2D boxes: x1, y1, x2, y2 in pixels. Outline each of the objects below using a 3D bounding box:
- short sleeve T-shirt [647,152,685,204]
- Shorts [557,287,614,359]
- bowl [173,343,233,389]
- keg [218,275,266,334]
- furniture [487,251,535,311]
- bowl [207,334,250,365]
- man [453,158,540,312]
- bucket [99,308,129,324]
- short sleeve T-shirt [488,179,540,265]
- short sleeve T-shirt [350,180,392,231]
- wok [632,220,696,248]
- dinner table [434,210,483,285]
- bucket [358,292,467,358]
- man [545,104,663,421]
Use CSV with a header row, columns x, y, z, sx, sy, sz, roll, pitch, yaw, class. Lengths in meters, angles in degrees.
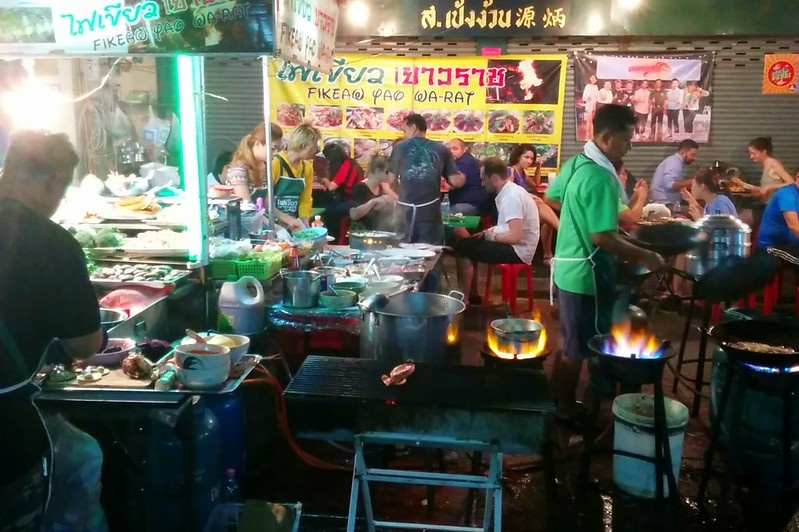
x,y,z,sx,sy,sz,roll,pitch,yaw,class
4.318,-1.396,10.130,0.501,0.865,0.843,7,23,15,short sleeve T-shirt
1.448,0.426,5.153,0.398,0.480,0.291,-2,9,-26,Shorts
-1.163,0.587,3.725,0.289,0.174,0.244,2,7,2,bowl
-1.127,0.267,4.554,0.377,0.383,0.252,2,10,19,keg
1.413,0.251,7.688,0.565,0.431,0.548,7,4,-6,furniture
-1.043,0.512,3.923,0.195,0.100,0.189,1,2,0,bowl
1.245,-0.376,7.869,1.071,1.819,0.972,3,12,19,man
-1.933,0.343,4.240,0.174,0.059,0.168,7,10,-1,bucket
1.361,-0.509,7.624,0.650,1.113,1.064,-4,11,20,short sleeve T-shirt
-0.368,-0.760,8.181,0.603,0.647,0.363,-10,23,-6,short sleeve T-shirt
2.123,-0.244,5.050,0.321,0.060,0.310,-5,19,-4,wok
0.791,-0.227,8.364,0.919,0.831,0.894,0,7,5,dinner table
0.104,0.416,4.209,0.562,0.469,0.503,0,4,-9,bucket
1.698,0.002,5.322,0.828,2.635,0.994,-5,22,0,man
